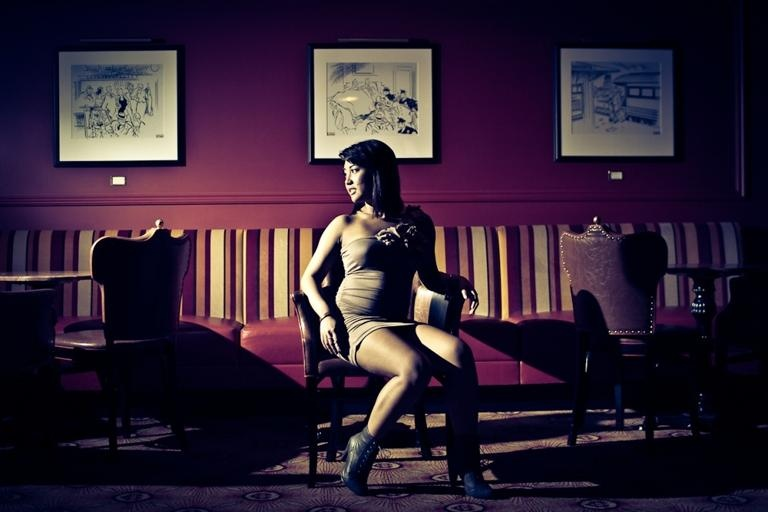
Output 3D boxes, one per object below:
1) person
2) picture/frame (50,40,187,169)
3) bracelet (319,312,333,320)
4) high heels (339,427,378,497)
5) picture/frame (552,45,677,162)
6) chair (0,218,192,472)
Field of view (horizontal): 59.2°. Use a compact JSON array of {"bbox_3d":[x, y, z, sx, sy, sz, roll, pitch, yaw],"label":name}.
[{"bbox_3d":[0.033,0.348,3.976,1.070,1.994,0.774,0,13,4],"label":"person"},{"bbox_3d":[-2.284,-1.284,5.726,1.105,0.998,0.077,-1,-2,-1],"label":"picture/frame"},{"bbox_3d":[-0.335,0.348,3.937,0.062,0.045,0.030,-2,13,-6],"label":"bracelet"},{"bbox_3d":[-0.140,1.166,3.874,0.203,0.430,0.189,-2,13,-4],"label":"high heels"},{"bbox_3d":[1.943,-1.315,5.825,1.037,0.840,0.046,0,-5,-5],"label":"picture/frame"},{"bbox_3d":[-1.643,0.530,4.392,0.840,1.442,0.547,-5,13,-18],"label":"chair"}]
